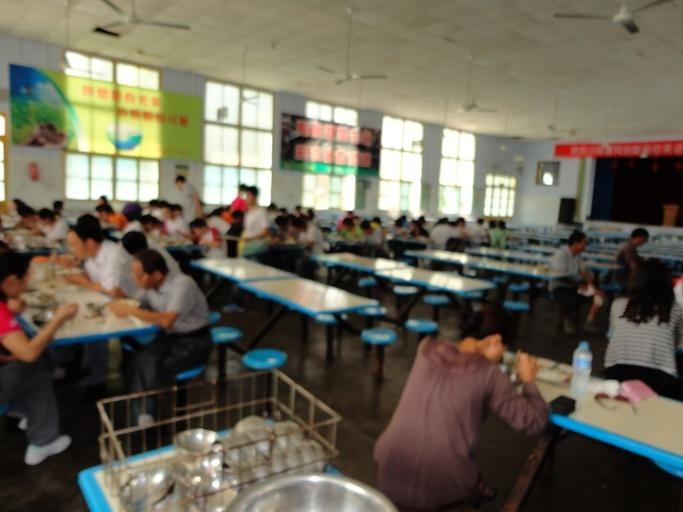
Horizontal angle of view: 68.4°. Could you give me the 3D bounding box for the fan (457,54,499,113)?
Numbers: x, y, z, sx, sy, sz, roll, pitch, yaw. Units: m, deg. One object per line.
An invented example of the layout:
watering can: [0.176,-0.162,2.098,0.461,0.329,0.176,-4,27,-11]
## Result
fan: [2.548,-3.251,9.380,0.663,0.802,0.728,-27,34,-28]

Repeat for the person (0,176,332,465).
person: [-1.484,0.346,3.364,1.142,0.441,1.768,-10,22,-44]

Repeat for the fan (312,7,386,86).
fan: [0.087,-3.591,8.616,1.289,1.096,1.274,7,18,21]
